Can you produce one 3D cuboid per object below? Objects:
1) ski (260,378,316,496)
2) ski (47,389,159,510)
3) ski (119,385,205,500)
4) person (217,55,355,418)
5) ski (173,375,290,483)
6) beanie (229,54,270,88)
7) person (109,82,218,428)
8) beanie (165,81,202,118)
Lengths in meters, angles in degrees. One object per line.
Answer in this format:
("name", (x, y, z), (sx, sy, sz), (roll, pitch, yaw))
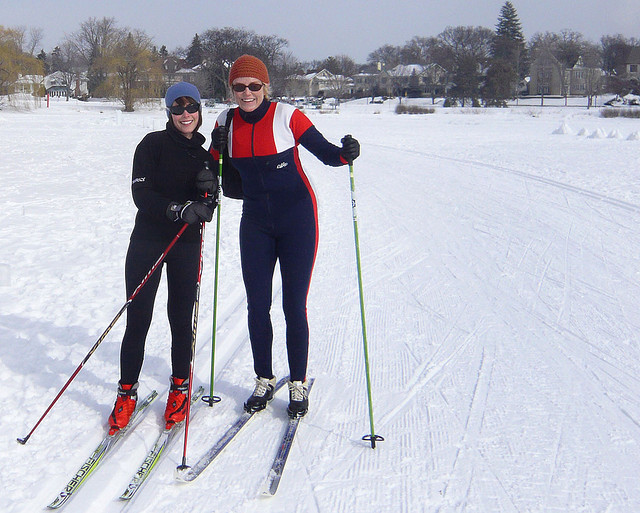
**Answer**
("ski", (-0.201, 1.055, 3.452), (0.064, 0.035, 0.679), (5, 29, 10))
("ski", (-1.194, 1.059, 3.489), (0.109, 0.095, 1.088), (10, 23, 8))
("ski", (-0.895, 1.029, 3.581), (0.114, 0.068, 1.235), (-10, 14, 9))
("person", (-0.289, -0.206, 4.019), (0.762, 2.118, 1.292), (0, 15, -10))
("ski", (-0.494, 0.899, 3.801), (0.122, 0.148, 1.634), (6, 20, 11))
("beanie", (-0.431, -1.120, 3.659), (0.238, 0.213, 0.265), (-13, 28, -7))
("person", (-0.926, -0.023, 3.617), (0.628, 1.939, 0.578), (0, 15, -11))
("beanie", (-0.815, -0.942, 3.618), (0.143, 0.210, 0.102), (-3, 16, -5))
